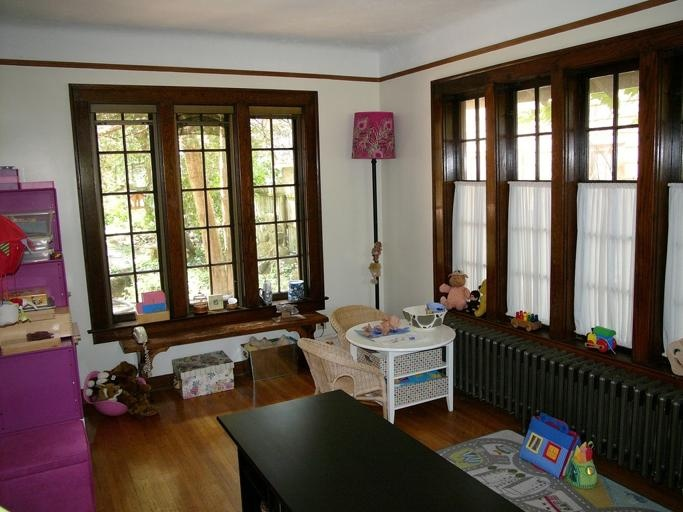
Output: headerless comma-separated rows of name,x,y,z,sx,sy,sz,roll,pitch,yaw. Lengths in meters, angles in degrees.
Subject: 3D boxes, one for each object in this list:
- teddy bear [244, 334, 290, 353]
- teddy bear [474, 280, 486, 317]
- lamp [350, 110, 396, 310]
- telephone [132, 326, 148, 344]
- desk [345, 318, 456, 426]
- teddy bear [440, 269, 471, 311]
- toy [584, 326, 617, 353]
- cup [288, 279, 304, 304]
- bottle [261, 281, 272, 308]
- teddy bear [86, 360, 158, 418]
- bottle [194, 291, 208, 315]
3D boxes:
teddy bear,-0.861,1.006,5.757,0.338,0.107,0.252,-1,2,-31
teddy bear,1.454,0.433,5.189,0.151,0.393,0.134,9,18,41
lamp,0.434,-0.537,6.253,0.563,2.412,0.472,-5,14,-8
telephone,-2.027,0.792,5.092,0.121,0.070,0.200,-11,29,-23
desk,0.526,1.029,4.443,0.901,0.630,0.882,-5,6,-28
teddy bear,1.217,0.377,5.377,0.430,0.413,0.248,6,5,41
toy,2.145,0.685,4.243,0.217,0.197,0.226,-9,13,-32
cup,-0.543,0.437,6.124,0.236,0.247,0.229,1,2,0
bottle,-0.879,0.442,5.993,0.133,0.257,0.243,-5,13,-8
teddy bear,-2.179,1.332,5.008,0.662,0.440,0.409,-4,13,-7
bottle,-1.568,0.540,5.738,0.201,0.202,0.199,-2,5,-38
